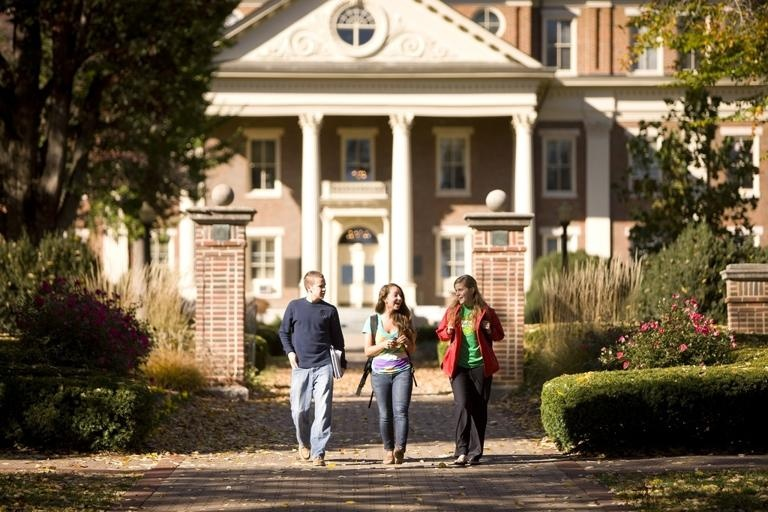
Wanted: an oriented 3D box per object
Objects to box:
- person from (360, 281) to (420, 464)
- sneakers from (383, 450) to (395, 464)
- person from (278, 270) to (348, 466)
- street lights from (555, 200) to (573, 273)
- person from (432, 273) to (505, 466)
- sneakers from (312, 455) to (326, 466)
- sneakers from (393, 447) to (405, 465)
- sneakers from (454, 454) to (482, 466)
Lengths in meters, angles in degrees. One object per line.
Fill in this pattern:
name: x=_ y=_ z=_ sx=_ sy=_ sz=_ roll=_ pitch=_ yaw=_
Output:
person: x=0.121 y=2.110 z=25.752 sx=0.871 sy=3.214 sz=0.296 roll=-2 pitch=-3 yaw=-1
sneakers: x=0.083 y=3.594 z=25.644 sx=0.212 sy=0.249 sz=0.216 roll=-2 pitch=-3 yaw=2
person: x=-1.273 y=1.992 z=25.752 sx=1.124 sy=3.479 sz=0.531 roll=-2 pitch=-3 yaw=-4
street lights: x=4.945 y=-0.659 z=39.501 sx=0.402 sy=1.360 sz=0.412 roll=1 pitch=-2 yaw=-30
person: x=1.534 y=2.023 z=25.896 sx=1.065 sy=3.422 sz=0.572 roll=-2 pitch=-3 yaw=4
sneakers: x=-1.139 y=3.638 z=25.484 sx=0.229 sy=0.195 sz=0.184 roll=-1 pitch=-3 yaw=-15
sneakers: x=0.266 y=3.571 z=25.578 sx=0.131 sy=0.316 sz=0.131 roll=0 pitch=6 yaw=-15
sneakers: x=1.474 y=3.631 z=25.683 sx=0.392 sy=0.170 sz=0.211 roll=5 pitch=-7 yaw=-17
